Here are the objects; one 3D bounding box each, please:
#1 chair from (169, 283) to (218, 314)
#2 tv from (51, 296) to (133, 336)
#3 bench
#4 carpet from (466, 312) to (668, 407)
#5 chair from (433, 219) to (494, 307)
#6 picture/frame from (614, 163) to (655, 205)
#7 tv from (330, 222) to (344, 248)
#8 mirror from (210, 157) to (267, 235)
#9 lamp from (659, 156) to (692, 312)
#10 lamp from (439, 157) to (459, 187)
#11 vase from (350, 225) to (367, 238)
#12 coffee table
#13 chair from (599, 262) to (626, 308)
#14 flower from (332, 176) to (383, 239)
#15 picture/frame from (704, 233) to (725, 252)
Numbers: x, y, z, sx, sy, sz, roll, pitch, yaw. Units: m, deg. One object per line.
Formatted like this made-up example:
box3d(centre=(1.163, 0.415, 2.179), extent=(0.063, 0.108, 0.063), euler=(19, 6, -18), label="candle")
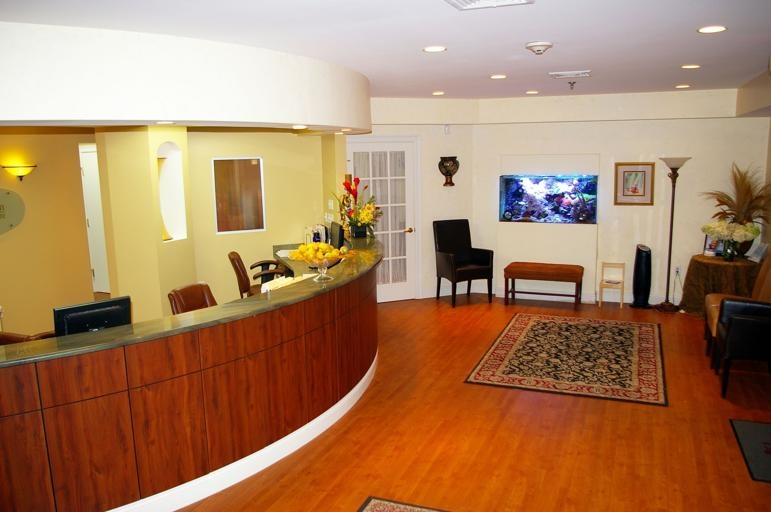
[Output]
box3d(centre=(-2.087, 0.462, 5.674), extent=(0.387, 0.454, 0.341), euler=(-10, 8, 45), label="chair")
box3d(centre=(-2.438, 0.507, 4.412), extent=(0.565, 0.259, 0.152), euler=(-6, 9, -29), label="tv")
box3d(centre=(2.687, 0.496, 9.034), extent=(1.244, 0.618, 0.560), euler=(2, 13, 28), label="bench")
box3d(centre=(2.508, 1.307, 7.087), extent=(2.190, 0.338, 2.628), euler=(1, 8, 25), label="carpet")
box3d(centre=(1.321, 0.096, 9.165), extent=(1.032, 1.354, 1.057), euler=(2, 8, 24), label="chair")
box3d(centre=(4.191, -1.214, 8.834), extent=(0.702, 0.807, 0.086), euler=(1, 4, 12), label="picture/frame")
box3d(centre=(-0.650, -0.258, 7.047), extent=(0.061, 0.438, 0.401), euler=(-3, 0, -25), label="tv")
box3d(centre=(-2.273, -0.930, 8.216), extent=(0.801, 1.087, 0.051), euler=(-1, 5, 9), label="mirror")
box3d(centre=(4.669, -0.354, 8.571), extent=(0.396, 2.434, 0.652), euler=(2, 9, 30), label="lamp")
box3d(centre=(1.144, -1.462, 9.276), extent=(0.400, 0.523, 0.201), euler=(-6, 9, -28), label="lamp")
box3d(centre=(-0.382, -0.350, 7.793), extent=(0.178, 0.129, 0.176), euler=(0, 4, -19), label="vase")
box3d(centre=(4.933, 0.468, 7.949), extent=(0.828, 0.745, 0.856), euler=(2, 15, -7), label="coffee table")
box3d(centre=(3.825, 0.480, 8.933), extent=(0.414, 0.713, 0.576), euler=(1, 9, 24), label="chair")
box3d(centre=(-0.494, -0.733, 8.309), extent=(0.978, 1.335, 1.038), euler=(-1, 12, -6), label="flower")
box3d(centre=(5.082, -0.197, 8.148), extent=(0.197, 0.299, 0.183), euler=(16, 29, 37), label="picture/frame")
